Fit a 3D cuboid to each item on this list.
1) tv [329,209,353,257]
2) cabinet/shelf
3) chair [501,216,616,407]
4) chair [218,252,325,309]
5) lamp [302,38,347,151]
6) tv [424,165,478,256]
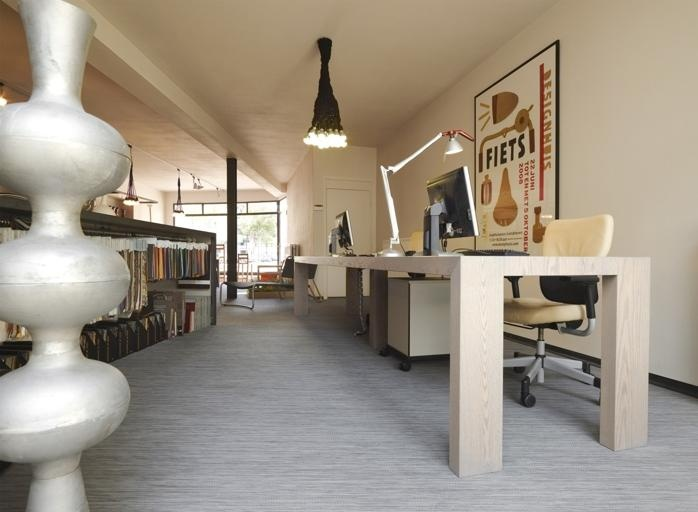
[{"bbox_3d":[-0.098,-0.242,5.392,0.255,0.512,0.716,-2,4,-13],"label":"tv"},{"bbox_3d":[0.467,0.412,3.399,0.454,0.686,0.548,0,1,-7],"label":"cabinet/shelf"},{"bbox_3d":[1.204,0.278,3.150,0.713,1.047,0.704,2,3,45],"label":"chair"},{"bbox_3d":[-0.965,0.301,6.876,1.424,0.833,0.733,2,-4,-24],"label":"chair"},{"bbox_3d":[-0.224,-1.515,4.850,0.379,0.943,0.631,-1,12,-4],"label":"lamp"},{"bbox_3d":[0.558,-0.301,2.869,0.113,0.405,0.499,-3,12,-13],"label":"tv"}]
